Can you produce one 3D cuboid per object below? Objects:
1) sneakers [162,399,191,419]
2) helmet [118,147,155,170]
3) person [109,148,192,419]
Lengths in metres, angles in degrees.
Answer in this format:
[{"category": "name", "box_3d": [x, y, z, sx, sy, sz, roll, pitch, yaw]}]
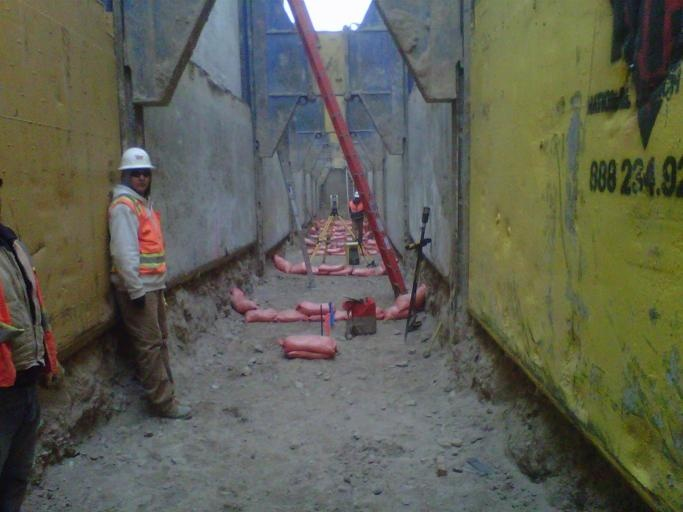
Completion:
[{"category": "sneakers", "box_3d": [-1.370, 1.293, 5.537, 0.225, 0.198, 0.116, 1, 3, -12]}, {"category": "helmet", "box_3d": [-1.669, -0.791, 5.359, 0.267, 0.209, 0.342, 0, -1, -21]}, {"category": "person", "box_3d": [-1.591, 0.256, 5.412, 0.535, 2.244, 0.485, -8, 13, -30]}]
